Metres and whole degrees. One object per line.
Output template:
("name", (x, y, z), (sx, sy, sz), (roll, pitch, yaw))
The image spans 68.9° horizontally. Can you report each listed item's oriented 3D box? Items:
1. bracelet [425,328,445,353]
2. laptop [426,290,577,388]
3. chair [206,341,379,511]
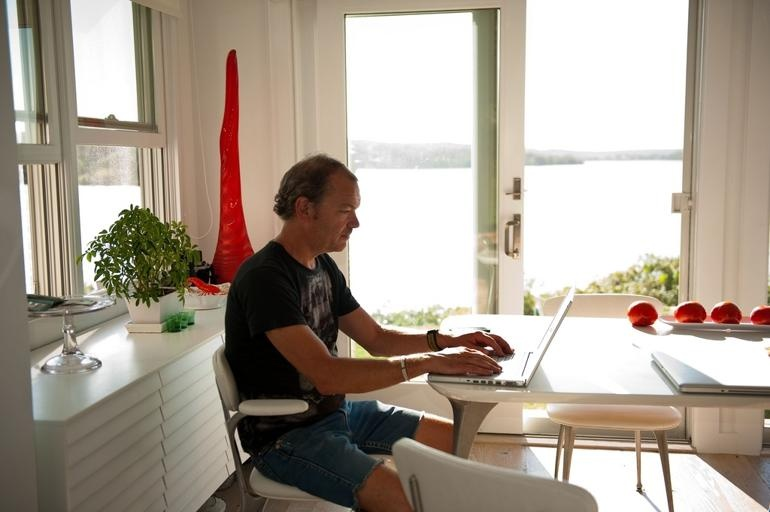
("bracelet", (0.207, 0.353, 2.373), (0.057, 0.087, 0.089), (-12, -3, 20))
("laptop", (0.469, 0.308, 2.085), (0.582, 0.309, 0.298), (-5, 7, -31))
("chair", (-0.369, 0.694, 2.429), (0.636, 0.768, 0.601), (-1, 1, 0))
